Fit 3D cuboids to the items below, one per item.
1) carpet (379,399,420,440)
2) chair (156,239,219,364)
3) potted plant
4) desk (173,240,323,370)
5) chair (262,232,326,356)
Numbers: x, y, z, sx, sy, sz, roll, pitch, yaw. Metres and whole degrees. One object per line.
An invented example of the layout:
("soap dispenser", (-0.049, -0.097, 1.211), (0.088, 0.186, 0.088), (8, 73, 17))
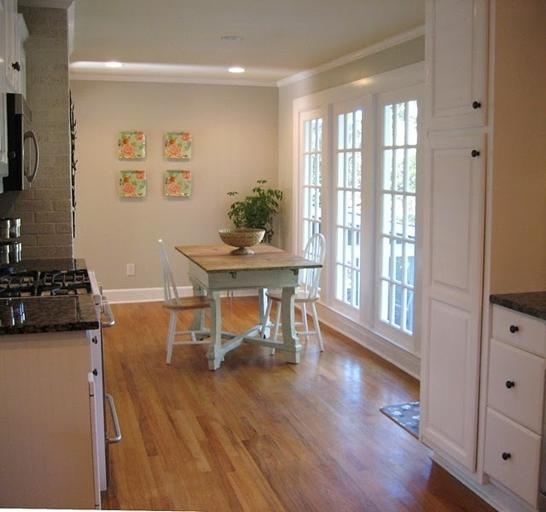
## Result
("carpet", (0.800, 0.965, 2.948), (0.245, 0.118, 0.517), (2, 7, 17))
("chair", (-0.732, 0.384, 4.061), (0.468, 1.068, 0.477), (-5, 7, -27))
("potted plant", (-0.290, -0.477, 6.065), (0.650, 0.869, 0.571), (-3, 4, 20))
("desk", (-0.241, 0.410, 4.165), (1.039, 0.903, 1.167), (-2, 7, -15))
("chair", (0.213, 0.327, 4.528), (0.587, 1.118, 0.575), (6, 8, 18))
